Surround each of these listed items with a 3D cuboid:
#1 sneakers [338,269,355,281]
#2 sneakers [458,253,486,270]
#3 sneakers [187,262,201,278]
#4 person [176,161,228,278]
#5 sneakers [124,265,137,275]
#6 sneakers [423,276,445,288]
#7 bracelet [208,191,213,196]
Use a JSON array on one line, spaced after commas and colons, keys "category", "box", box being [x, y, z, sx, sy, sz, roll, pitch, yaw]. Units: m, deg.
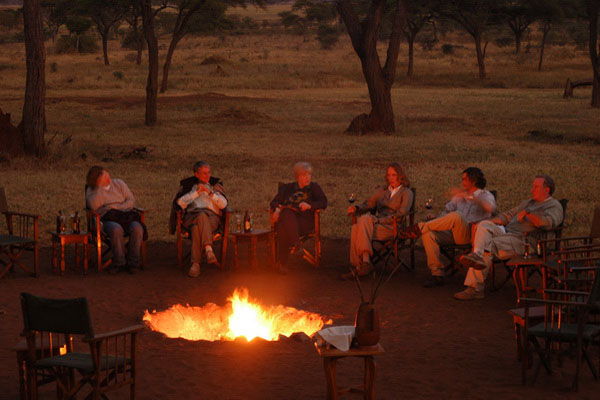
[{"category": "sneakers", "box": [0.742, 1.269, 17.536, 0.396, 0.142, 0.212, 0, 9, -16]}, {"category": "sneakers", "box": [2.821, 0.996, 16.644, 0.498, 0.213, 0.292, 9, 24, -4]}, {"category": "sneakers", "box": [-1.866, 1.225, 17.772, 0.243, 0.232, 0.631, 1, 3, -3]}, {"category": "person", "box": [-1.733, 0.311, 17.943, 0.870, 2.006, 0.596, -2, 3, -16]}, {"category": "sneakers", "box": [-2.991, 1.207, 17.787, 0.281, 0.162, 0.145, 1, 3, 37]}, {"category": "sneakers", "box": [2.275, 1.385, 17.279, 0.417, 0.185, 0.153, -1, 4, -20]}, {"category": "bracelet", "box": [-1.590, -0.122, 17.900, 0.064, 0.064, 0.022, 40, 8, 1]}]
